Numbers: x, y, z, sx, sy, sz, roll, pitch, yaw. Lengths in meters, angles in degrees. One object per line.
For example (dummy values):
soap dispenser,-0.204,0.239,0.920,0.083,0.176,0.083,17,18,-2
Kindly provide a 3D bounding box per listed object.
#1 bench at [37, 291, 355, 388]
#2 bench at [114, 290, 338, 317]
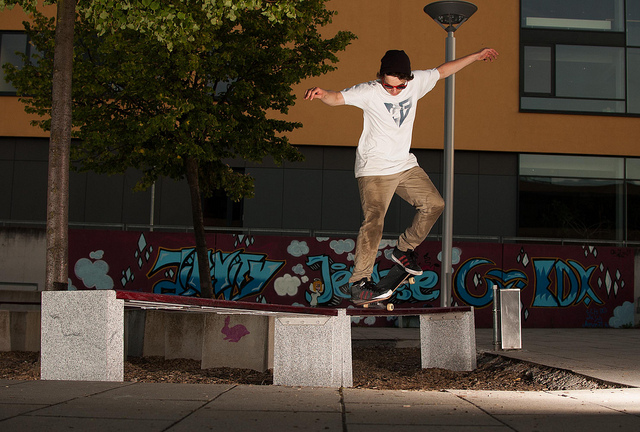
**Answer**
bench,-2.452,2.342,17.007,5.766,1.941,0.872,1,13,-11
bench,-1.895,1.731,17.194,4.057,0.750,0.584,0,14,-15
